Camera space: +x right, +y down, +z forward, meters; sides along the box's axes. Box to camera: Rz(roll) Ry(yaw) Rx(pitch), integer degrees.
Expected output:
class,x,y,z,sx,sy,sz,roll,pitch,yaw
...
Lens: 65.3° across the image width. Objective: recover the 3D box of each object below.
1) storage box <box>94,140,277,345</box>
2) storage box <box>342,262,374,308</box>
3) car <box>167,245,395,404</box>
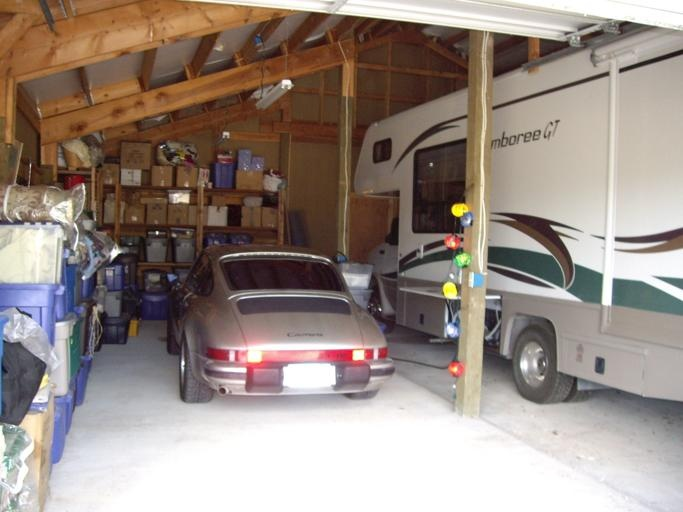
class,x,y,z,sx,sy,sz,roll,pitch,yaw
storage box,-2.857,-0.331,9.105,3.400,3.460,1.045,1,-5,-20
storage box,0.226,0.382,7.775,0.423,0.710,0.640,1,11,-1
car,-0.571,0.612,5.338,1.975,1.248,1.438,2,4,-3
